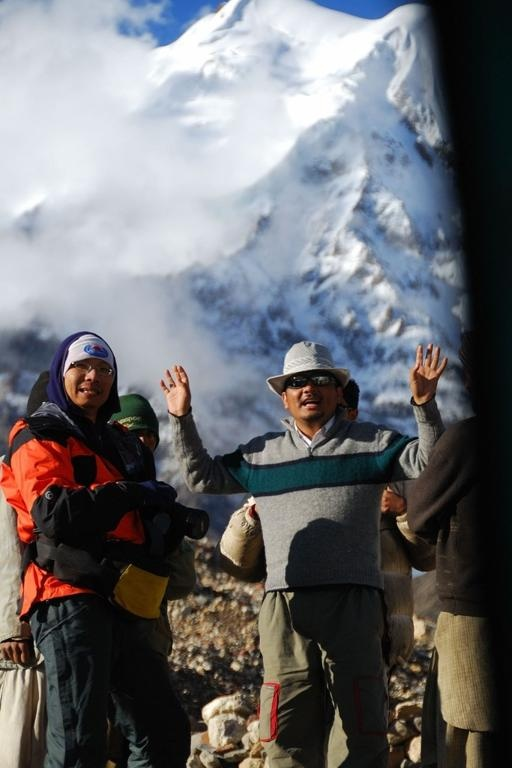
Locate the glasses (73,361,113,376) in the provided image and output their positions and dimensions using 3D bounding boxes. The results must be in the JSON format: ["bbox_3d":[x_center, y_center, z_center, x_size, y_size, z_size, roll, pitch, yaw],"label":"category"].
[{"bbox_3d":[-0.626,-0.064,3.598,0.072,0.022,0.073,15,-24,-28],"label":"glasses"}]

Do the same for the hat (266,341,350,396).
[{"bbox_3d":[0.286,-0.081,5.092,0.399,0.184,0.460,-6,-34,3],"label":"hat"}]

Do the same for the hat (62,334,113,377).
[{"bbox_3d":[-0.638,-0.103,3.641,0.140,0.157,0.179,11,-12,-34],"label":"hat"}]

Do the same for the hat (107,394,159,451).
[{"bbox_3d":[-0.581,0.213,4.540,0.209,0.239,0.295,0,-39,0],"label":"hat"}]
